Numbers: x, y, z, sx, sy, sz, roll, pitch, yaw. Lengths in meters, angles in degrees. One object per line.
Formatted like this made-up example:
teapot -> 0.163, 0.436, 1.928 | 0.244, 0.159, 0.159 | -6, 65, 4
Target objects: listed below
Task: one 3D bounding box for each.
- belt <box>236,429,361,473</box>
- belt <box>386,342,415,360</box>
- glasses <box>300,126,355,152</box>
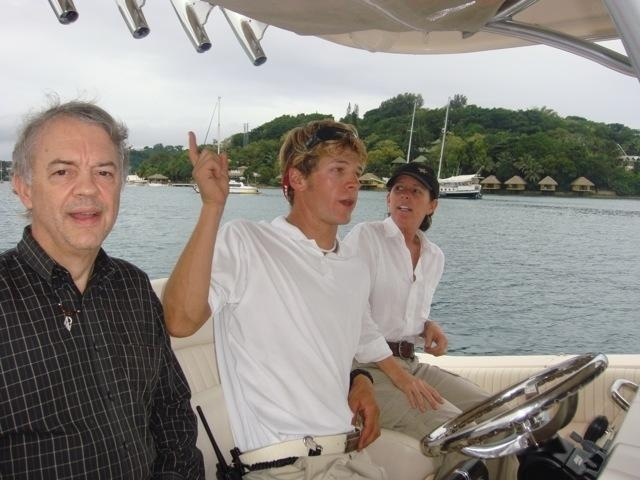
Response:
belt -> -0.075, 0.887, 2.216 | 0.518, 0.142, 0.120 | 0, 10, -10
belt -> 0.497, 0.678, 3.248 | 0.143, 0.045, 0.129 | 10, -3, -8
glasses -> 0.040, -0.501, 2.528 | 0.232, 0.089, 0.059 | 25, 7, 9
